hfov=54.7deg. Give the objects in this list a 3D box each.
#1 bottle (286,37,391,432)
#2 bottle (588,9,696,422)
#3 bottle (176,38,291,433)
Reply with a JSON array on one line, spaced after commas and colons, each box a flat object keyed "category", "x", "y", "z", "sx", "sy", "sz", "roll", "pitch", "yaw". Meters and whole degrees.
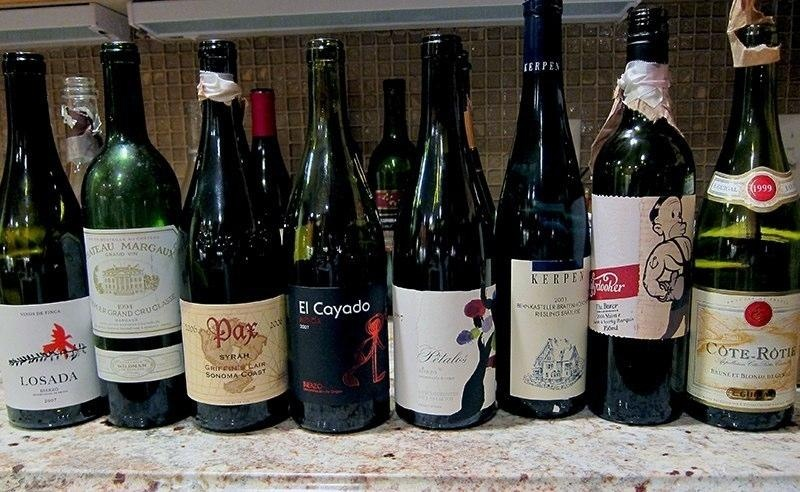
[{"category": "bottle", "x": -0.101, "y": -0.014, "z": 1.133, "sx": 0.156, "sy": 0.558, "sz": 0.152, "roll": -2, "pitch": 15, "yaw": 1}, {"category": "bottle", "x": 0.349, "y": -0.035, "z": 1.118, "sx": 0.141, "sy": 0.587, "sz": 0.125, "roll": 2, "pitch": 16, "yaw": 15}, {"category": "bottle", "x": -0.253, "y": -0.010, "z": 1.128, "sx": 0.155, "sy": 0.558, "sz": 0.125, "roll": -5, "pitch": 15, "yaw": -10}]
